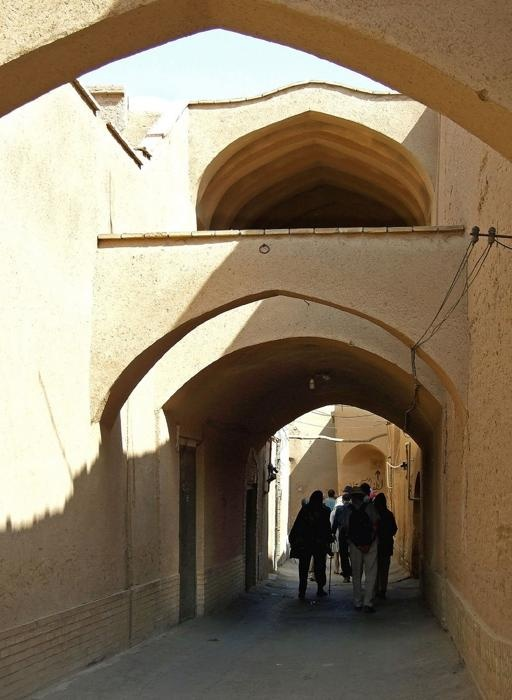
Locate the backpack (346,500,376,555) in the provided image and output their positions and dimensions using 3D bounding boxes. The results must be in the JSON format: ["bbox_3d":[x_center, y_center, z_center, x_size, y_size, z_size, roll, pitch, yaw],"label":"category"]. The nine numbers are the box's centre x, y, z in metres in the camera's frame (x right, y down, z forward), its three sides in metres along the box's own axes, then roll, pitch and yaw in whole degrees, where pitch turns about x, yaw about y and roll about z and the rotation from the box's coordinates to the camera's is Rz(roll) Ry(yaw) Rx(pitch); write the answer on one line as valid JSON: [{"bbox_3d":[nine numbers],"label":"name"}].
[{"bbox_3d":[1.191,2.051,9.215,0.339,0.573,0.255,-2,-11,7],"label":"backpack"}]

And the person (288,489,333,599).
[{"bbox_3d":[0.742,2.761,11.143,0.595,1.479,0.760,-1,-11,2],"label":"person"}]
